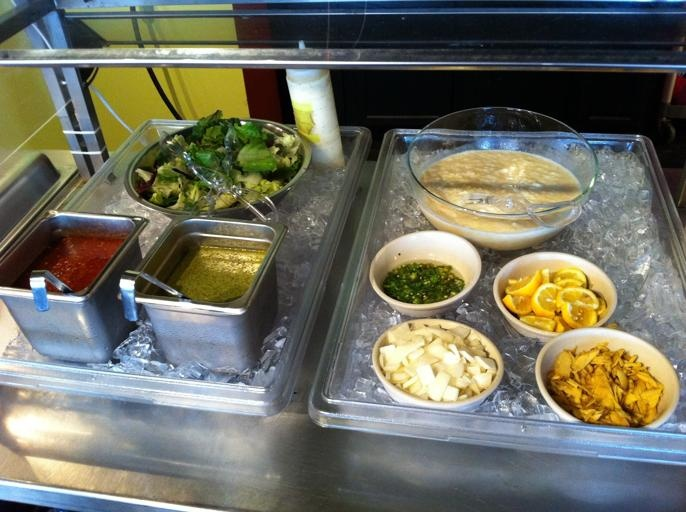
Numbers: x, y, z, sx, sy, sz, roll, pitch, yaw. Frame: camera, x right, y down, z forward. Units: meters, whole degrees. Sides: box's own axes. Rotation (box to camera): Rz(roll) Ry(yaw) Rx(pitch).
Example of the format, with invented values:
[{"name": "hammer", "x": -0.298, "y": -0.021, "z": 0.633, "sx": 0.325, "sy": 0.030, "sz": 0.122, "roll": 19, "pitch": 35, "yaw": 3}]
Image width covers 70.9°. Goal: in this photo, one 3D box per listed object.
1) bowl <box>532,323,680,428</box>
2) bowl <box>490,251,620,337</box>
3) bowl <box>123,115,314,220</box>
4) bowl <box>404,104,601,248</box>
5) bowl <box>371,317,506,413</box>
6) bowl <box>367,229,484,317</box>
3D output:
[{"name": "bowl", "x": 0.477, "y": 0.218, "z": 0.885, "sx": 0.236, "sy": 0.062, "sz": 0.181, "roll": 7, "pitch": 48, "yaw": 11}, {"name": "bowl", "x": 0.450, "y": 0.085, "z": 1.002, "sx": 0.227, "sy": 0.077, "sz": 0.194, "roll": -12, "pitch": 48, "yaw": -1}, {"name": "bowl", "x": -0.327, "y": -0.199, "z": 1.339, "sx": 0.420, "sy": 0.148, "sz": 0.357, "roll": 3, "pitch": 38, "yaw": 7}, {"name": "bowl", "x": 0.391, "y": -0.206, "z": 1.162, "sx": 0.419, "sy": 0.165, "sz": 0.400, "roll": -3, "pitch": 44, "yaw": 3}, {"name": "bowl", "x": 0.180, "y": 0.201, "z": 0.923, "sx": 0.223, "sy": 0.051, "sz": 0.213, "roll": -2, "pitch": 46, "yaw": 2}, {"name": "bowl", "x": 0.186, "y": 0.041, "z": 1.082, "sx": 0.229, "sy": 0.079, "sz": 0.233, "roll": -6, "pitch": 45, "yaw": 6}]
